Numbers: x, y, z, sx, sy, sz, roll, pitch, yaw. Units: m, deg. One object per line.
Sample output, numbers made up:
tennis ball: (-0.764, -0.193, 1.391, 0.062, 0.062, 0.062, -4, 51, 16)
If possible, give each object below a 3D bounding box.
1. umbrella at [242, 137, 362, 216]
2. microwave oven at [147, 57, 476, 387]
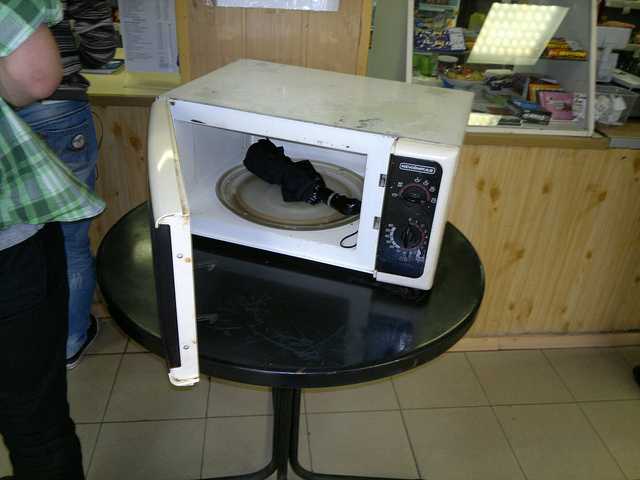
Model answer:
umbrella: (-0.070, -0.178, 1.482, 0.386, 0.164, 0.103, 30, 88, 20)
microwave oven: (-0.079, -0.210, 1.433, 1.018, 0.359, 0.875, -18, 38, -32)
